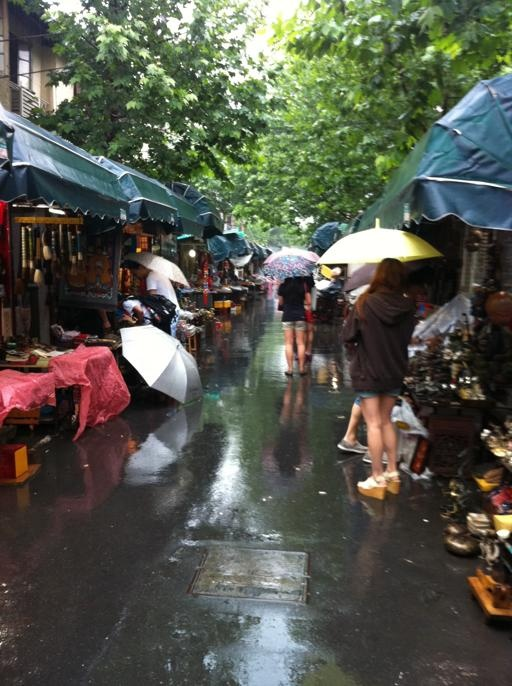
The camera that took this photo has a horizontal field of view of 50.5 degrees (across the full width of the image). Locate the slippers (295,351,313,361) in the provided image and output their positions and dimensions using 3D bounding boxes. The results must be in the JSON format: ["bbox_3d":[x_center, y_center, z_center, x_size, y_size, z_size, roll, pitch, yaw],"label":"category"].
[{"bbox_3d":[1.235,0.286,13.136,0.183,0.229,0.586,3,8,18],"label":"slippers"}]

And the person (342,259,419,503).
[{"bbox_3d":[1.041,0.306,4.692,0.599,2.066,0.354,2,5,6],"label":"person"}]

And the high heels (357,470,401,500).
[{"bbox_3d":[1.067,1.244,4.793,0.198,0.113,0.316,-3,5,-7],"label":"high heels"}]

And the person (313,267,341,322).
[{"bbox_3d":[2.729,-1.615,21.024,1.192,1.442,2.543,8,21,9],"label":"person"}]

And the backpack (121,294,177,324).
[{"bbox_3d":[-1.710,-0.578,8.945,0.673,0.275,0.494,2,2,21],"label":"backpack"}]

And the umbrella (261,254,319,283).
[{"bbox_3d":[0.613,-1.472,10.443,1.015,0.550,0.591,1,4,1],"label":"umbrella"}]

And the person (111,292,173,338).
[{"bbox_3d":[-1.742,-0.450,8.945,0.666,0.337,0.804,16,6,42],"label":"person"}]

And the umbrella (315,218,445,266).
[{"bbox_3d":[1.094,-0.927,4.916,1.019,0.448,0.606,2,4,18],"label":"umbrella"}]

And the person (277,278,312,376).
[{"bbox_3d":[0.745,-0.326,10.763,0.647,1.941,0.936,1,4,4],"label":"person"}]

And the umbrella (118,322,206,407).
[{"bbox_3d":[-1.313,0.282,7.418,1.073,1.004,0.961,1,4,-2],"label":"umbrella"}]
